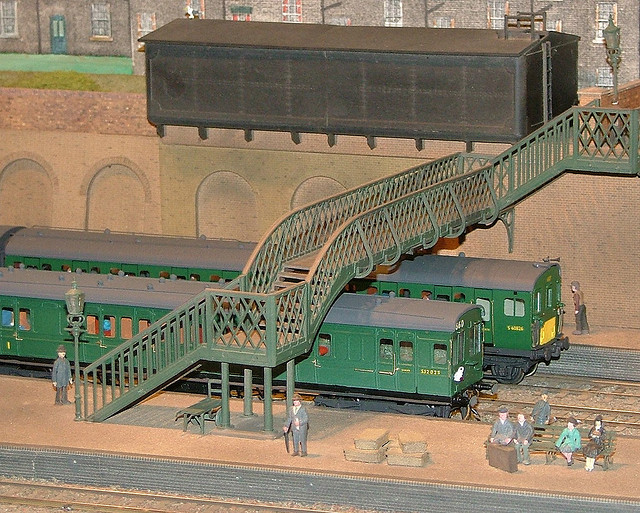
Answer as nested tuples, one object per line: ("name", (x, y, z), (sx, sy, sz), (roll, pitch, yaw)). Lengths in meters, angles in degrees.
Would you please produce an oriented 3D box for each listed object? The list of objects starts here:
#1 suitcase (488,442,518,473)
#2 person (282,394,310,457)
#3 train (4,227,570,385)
("suitcase", (4.655, 5.185, 51.493), (0.700, 0.598, 0.229), (4, 17, 36))
("person", (-0.615, 4.472, 52.398), (0.643, 1.650, 0.566), (1, 12, 19))
("train", (-0.903, 1.573, 57.482), (14.611, 3.636, 2.893), (4, 20, 12))
